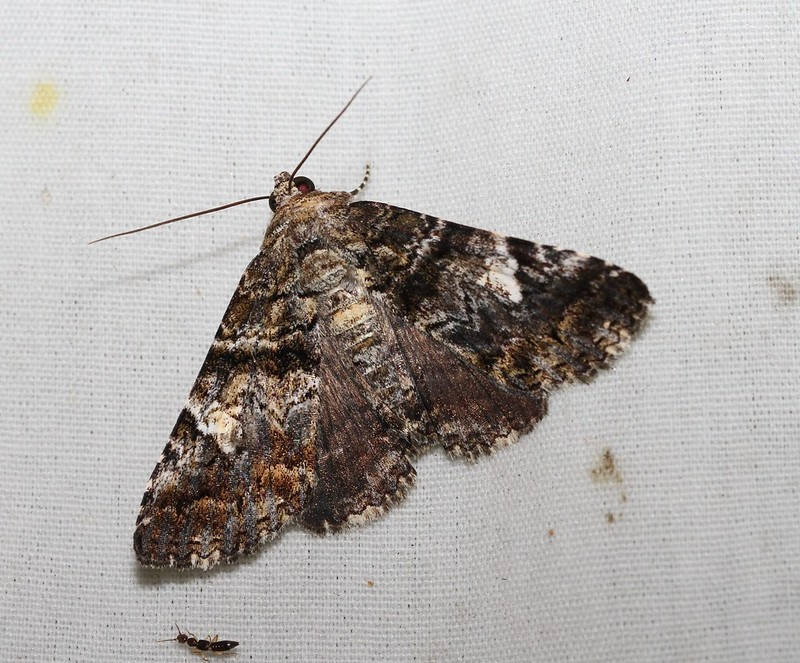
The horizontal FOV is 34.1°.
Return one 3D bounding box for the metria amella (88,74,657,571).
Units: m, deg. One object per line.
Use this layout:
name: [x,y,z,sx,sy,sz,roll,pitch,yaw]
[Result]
metria amella: [-0.230,-0.290,6.011,2.608,0.794,2.028,-25,55,-20]
